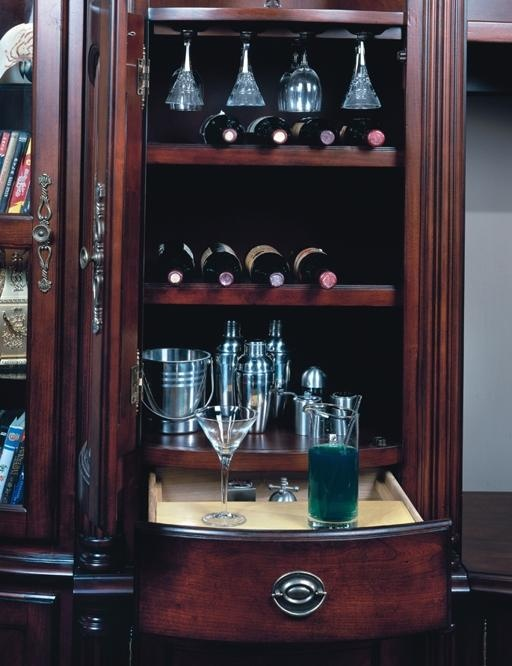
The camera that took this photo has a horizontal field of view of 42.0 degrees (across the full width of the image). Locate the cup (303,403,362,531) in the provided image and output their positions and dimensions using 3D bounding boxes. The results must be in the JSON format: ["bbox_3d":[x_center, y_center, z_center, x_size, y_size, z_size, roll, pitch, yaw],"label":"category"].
[{"bbox_3d":[0.120,0.207,1.037,0.080,0.176,0.118,-2,-2,4],"label":"cup"}]

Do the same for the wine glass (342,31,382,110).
[{"bbox_3d":[0.220,-0.550,1.403,0.089,0.148,0.089,6,18,32],"label":"wine glass"}]

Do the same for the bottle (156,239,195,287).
[{"bbox_3d":[-0.182,-0.155,1.494,0.093,0.088,0.231,7,14,-3],"label":"bottle"}]

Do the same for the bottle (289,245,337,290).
[{"bbox_3d":[0.120,-0.143,1.464,0.092,0.085,0.268,-5,16,2],"label":"bottle"}]

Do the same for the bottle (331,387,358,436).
[{"bbox_3d":[0.164,0.134,1.274,0.064,0.059,0.039,0,1,-13],"label":"bottle"}]

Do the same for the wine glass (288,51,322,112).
[{"bbox_3d":[0.105,-0.540,1.438,0.079,0.114,0.074,-10,18,-34],"label":"wine glass"}]
